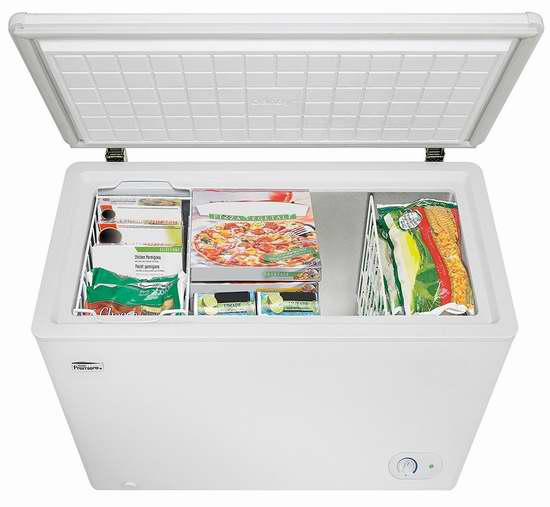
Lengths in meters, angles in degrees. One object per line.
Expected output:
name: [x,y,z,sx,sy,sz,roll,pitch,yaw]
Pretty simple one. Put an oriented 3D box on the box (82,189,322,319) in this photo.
box: [-0.218,-0.003,1.533,0.818,0.383,0.150,0,-36,0]
